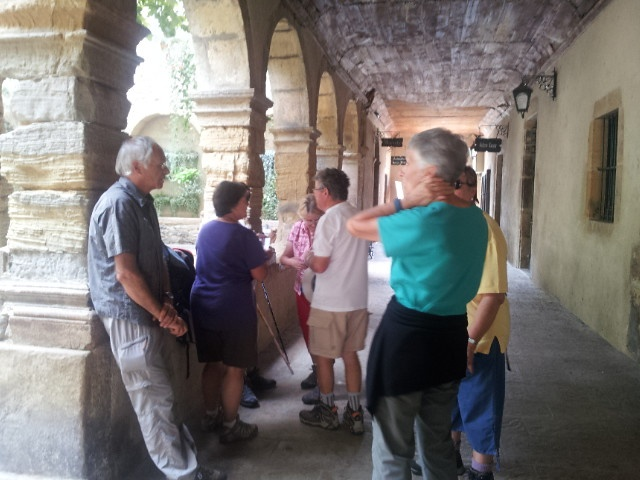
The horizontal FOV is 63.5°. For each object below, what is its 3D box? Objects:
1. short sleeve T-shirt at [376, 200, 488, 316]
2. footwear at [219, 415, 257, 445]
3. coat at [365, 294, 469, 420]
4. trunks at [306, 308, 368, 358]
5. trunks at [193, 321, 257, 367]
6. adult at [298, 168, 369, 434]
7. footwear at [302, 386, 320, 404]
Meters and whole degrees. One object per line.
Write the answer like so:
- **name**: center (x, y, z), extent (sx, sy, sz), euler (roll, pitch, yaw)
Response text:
- **short sleeve T-shirt**: center (0.619, 0.021, 2.716), extent (0.714, 0.560, 0.433), euler (-11, 24, -38)
- **footwear**: center (-0.572, 1.335, 3.663), extent (0.287, 0.173, 0.112), euler (2, 3, -28)
- **coat**: center (0.487, 0.622, 2.669), extent (0.452, 0.655, 0.330), euler (8, -7, -9)
- **trunks**: center (0.154, 0.646, 3.856), extent (0.431, 0.381, 0.265), euler (-3, 7, -26)
- **trunks**: center (-0.671, 0.695, 3.633), extent (0.404, 0.332, 0.245), euler (6, 14, -3)
- **adult**: center (0.126, 0.444, 3.886), extent (0.535, 1.912, 0.504), euler (1, 0, -27)
- **footwear**: center (-0.068, 1.250, 4.122), extent (0.080, 0.072, 0.158), euler (0, -10, 29)
